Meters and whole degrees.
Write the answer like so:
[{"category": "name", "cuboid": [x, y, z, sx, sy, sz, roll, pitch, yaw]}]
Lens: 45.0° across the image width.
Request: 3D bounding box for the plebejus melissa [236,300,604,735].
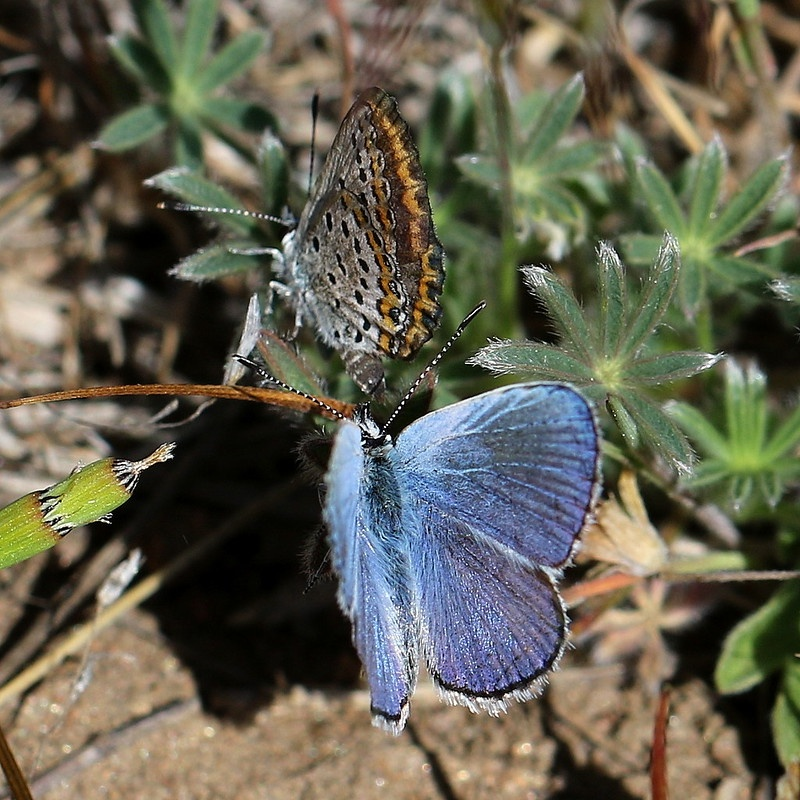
[{"category": "plebejus melissa", "cuboid": [0.155, 0.319, 2.332, 0.627, 0.640, 0.897, -3, 77, 0]}]
